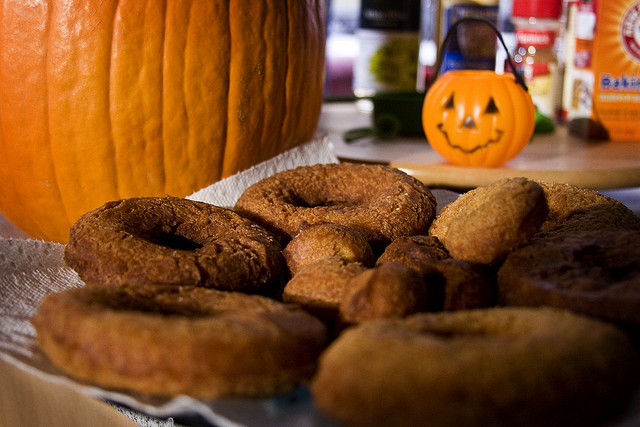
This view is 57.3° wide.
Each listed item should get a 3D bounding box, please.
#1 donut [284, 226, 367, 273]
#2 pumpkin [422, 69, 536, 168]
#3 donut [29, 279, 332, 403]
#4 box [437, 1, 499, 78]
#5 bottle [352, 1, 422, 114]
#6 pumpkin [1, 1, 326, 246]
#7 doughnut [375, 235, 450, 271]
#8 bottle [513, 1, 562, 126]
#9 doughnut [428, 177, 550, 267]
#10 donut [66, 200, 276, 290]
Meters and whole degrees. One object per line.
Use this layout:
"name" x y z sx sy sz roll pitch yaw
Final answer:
"donut" -0.006 0.056 0.922 0.086 0.030 0.088 3 16 9
"pumpkin" 0.439 -0.247 1.630 0.306 0.277 0.304 -1 -12 22
"donut" -0.185 0.160 0.777 0.359 0.115 0.199 9 24 21
"box" 0.599 -0.738 2.470 0.273 0.290 0.387 8 24 20
"bottle" 0.274 -0.657 2.540 0.301 0.468 0.738 3 23 9
"pumpkin" -0.361 -0.252 1.365 0.562 0.531 0.574 10 8 37
"doughnut" 0.149 0.057 0.935 0.067 0.024 0.069 -1 14 39
"bottle" 0.833 -0.586 2.260 0.204 0.425 0.326 6 23 16
"doughnut" 0.248 0.010 0.917 0.155 0.052 0.154 -23 -9 -39
"donut" -0.242 0.055 0.966 0.319 0.108 0.229 -13 26 -28
